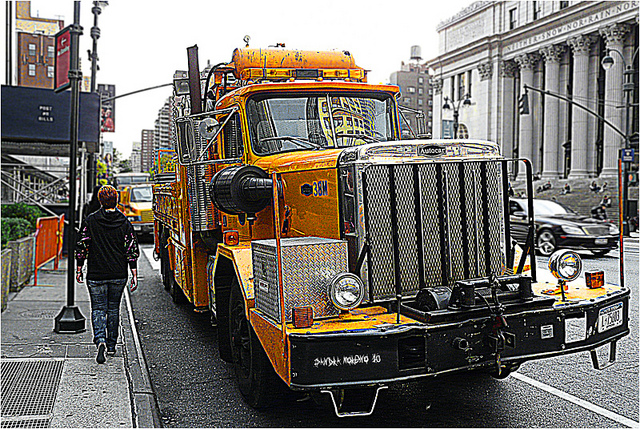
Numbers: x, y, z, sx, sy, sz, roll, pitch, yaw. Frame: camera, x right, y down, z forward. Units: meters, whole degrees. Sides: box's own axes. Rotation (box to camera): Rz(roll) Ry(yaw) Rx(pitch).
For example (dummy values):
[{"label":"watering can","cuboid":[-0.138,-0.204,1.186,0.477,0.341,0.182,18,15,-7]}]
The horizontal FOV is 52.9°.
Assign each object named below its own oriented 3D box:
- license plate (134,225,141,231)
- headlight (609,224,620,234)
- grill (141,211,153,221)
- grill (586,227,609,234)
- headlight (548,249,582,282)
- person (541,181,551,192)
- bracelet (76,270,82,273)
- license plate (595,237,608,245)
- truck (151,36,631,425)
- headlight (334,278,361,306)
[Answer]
[{"label":"license plate","cuboid":[-6.800,0.453,23.748,0.224,0.234,0.171,-2,8,-16]},{"label":"headlight","cuboid":[9.168,0.439,19.963,0.246,0.346,0.837,-4,-6,16]},{"label":"grill","cuboid":[-6.444,0.035,23.858,0.507,0.477,0.287,1,-5,-13]},{"label":"grill","cuboid":[8.430,0.445,19.384,0.835,0.218,0.150,-2,8,-19]},{"label":"headlight","cuboid":[3.266,0.655,8.525,0.367,0.442,0.417,1,-1,-17]},{"label":"person","cuboid":[18.512,-2.330,52.290,0.515,0.303,1.000,15,36,35]},{"label":"bracelet","cuboid":[-3.957,0.911,10.480,0.131,0.033,0.133,1,-1,-29]},{"label":"license plate","cuboid":[8.487,0.764,19.294,0.426,0.200,0.064,-2,8,-15]},{"label":"truck","cuboid":[-0.467,0.055,11.675,3.496,4.452,10.001,-1,2,-27]},{"label":"headlight","cuboid":[0.309,0.892,7.718,0.295,0.318,0.099,1,0,-11]}]
